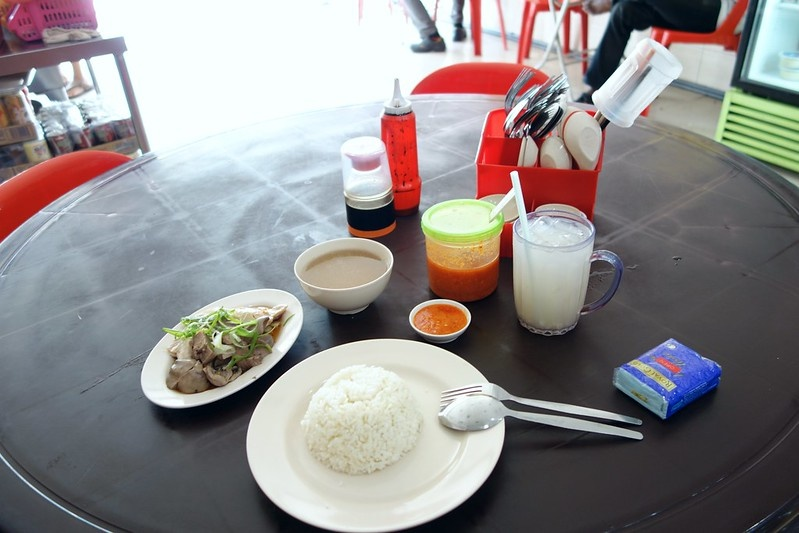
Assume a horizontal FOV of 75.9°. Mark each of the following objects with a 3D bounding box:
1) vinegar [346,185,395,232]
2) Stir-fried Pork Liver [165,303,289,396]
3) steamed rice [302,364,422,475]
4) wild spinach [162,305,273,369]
[{"bbox_3d":[-0.081,-0.153,1.377,0.120,0.121,0.111,-11,40,-1],"label":"vinegar"},{"bbox_3d":[-0.353,0.143,1.024,0.193,0.086,0.237,5,51,34],"label":"Stir-fried Pork Liver"},{"bbox_3d":[-0.073,0.253,0.935,0.188,0.140,0.236,-4,23,-15],"label":"steamed rice"},{"bbox_3d":[-0.328,0.117,1.033,0.156,0.053,0.176,-34,31,-27],"label":"wild spinach"}]
